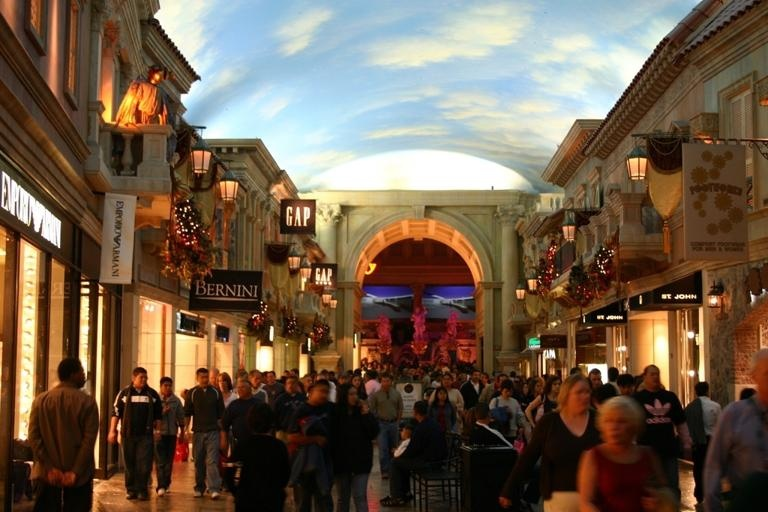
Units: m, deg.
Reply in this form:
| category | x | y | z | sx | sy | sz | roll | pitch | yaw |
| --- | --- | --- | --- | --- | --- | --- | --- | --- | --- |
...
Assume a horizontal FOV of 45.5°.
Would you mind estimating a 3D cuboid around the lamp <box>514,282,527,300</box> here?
| category | x | y | z | sx | sy | sz | roll | pitch | yaw |
| --- | --- | --- | --- | --- | --- | --- | --- | --- | --- |
| lamp | 7.284 | 1.973 | 49.063 | 0.778 | 1.241 | 0.829 | -1 | 3 | 23 |

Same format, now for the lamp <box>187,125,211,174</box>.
| category | x | y | z | sx | sy | sz | roll | pitch | yaw |
| --- | --- | --- | --- | --- | --- | --- | --- | --- | --- |
| lamp | -4.311 | -2.452 | 21.740 | 0.523 | 1.159 | 1.203 | 4 | -16 | -12 |

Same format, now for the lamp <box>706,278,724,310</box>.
| category | x | y | z | sx | sy | sz | roll | pitch | yaw |
| --- | --- | --- | --- | --- | --- | --- | --- | --- | --- |
| lamp | 7.975 | 0.938 | 22.170 | 0.338 | 0.728 | 0.504 | 1 | -15 | -2 |
